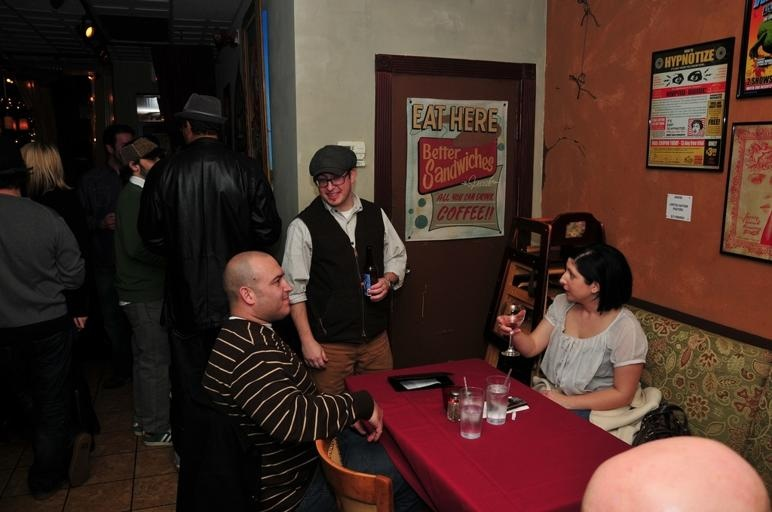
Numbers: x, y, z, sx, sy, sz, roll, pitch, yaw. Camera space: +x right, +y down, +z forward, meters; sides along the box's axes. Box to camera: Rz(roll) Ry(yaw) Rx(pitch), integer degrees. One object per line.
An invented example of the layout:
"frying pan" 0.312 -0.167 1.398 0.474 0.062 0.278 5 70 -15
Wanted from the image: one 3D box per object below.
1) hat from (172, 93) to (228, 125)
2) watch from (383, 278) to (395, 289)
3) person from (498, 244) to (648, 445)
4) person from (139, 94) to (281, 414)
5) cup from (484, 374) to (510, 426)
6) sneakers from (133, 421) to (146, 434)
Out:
"hat" -1.317 -1.046 3.733 0.274 0.112 0.237 33 20 35
"watch" 0.032 0.196 3.704 0.055 0.082 0.079 -4 7 -21
"person" 1.220 0.652 3.317 0.803 1.331 0.840 0 7 -35
"person" -1.349 0.176 4.004 0.909 2.607 0.766 -2 7 -30
"cup" 0.585 0.778 2.837 0.149 0.250 0.151 3 -7 0
"sneakers" -1.938 1.351 4.149 0.086 0.103 0.142 5 -6 -36
